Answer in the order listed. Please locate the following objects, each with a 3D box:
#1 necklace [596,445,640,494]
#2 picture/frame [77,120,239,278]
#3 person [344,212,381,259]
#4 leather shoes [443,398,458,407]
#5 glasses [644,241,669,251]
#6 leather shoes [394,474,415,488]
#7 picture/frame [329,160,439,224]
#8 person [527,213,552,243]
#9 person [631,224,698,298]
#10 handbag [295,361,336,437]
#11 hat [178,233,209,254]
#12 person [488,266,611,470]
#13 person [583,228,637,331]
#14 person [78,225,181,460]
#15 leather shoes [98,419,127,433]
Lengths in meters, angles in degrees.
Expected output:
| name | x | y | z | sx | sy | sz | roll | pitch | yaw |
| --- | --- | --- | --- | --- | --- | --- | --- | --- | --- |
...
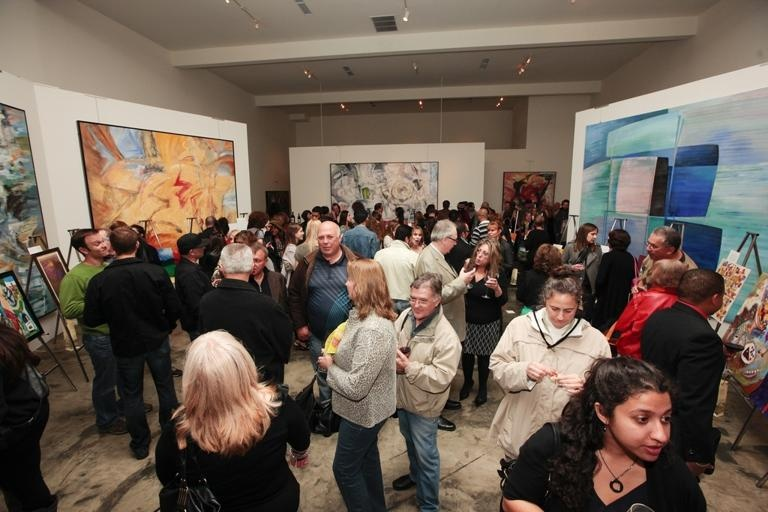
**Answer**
| name | x | y | z | sx | sy | sz | roll | pitch | yaw |
| --- | --- | --- | --- | --- | --- | --- | --- | --- | --- |
| necklace | 1.754 | 1.581 | 3.512 | 0.305 | 0.354 | 0.038 | 18 | 6 | 11 |
| picture/frame | -3.710 | -0.963 | 7.579 | 0.037 | 2.778 | 2.815 | 8 | 13 | 37 |
| person | -0.349 | -0.308 | 7.122 | 0.573 | 0.819 | 0.451 | 5 | 9 | 13 |
| leather shoes | 0.862 | 1.847 | 5.959 | 0.201 | 0.085 | 0.087 | -6 | 11 | 2 |
| glasses | 3.334 | -0.133 | 5.750 | 0.160 | 0.052 | 0.153 | -2 | 11 | -14 |
| leather shoes | 0.199 | 2.345 | 4.942 | 0.238 | 0.100 | 0.115 | 8 | 9 | -13 |
| picture/frame | 0.026 | -1.941 | 13.976 | 3.171 | 1.757 | 0.418 | 3 | 10 | 6 |
| person | 2.843 | -0.524 | 8.694 | 0.370 | 0.493 | 0.731 | 6 | 11 | 23 |
| person | 3.400 | 0.044 | 5.670 | 0.379 | 1.109 | 0.491 | -5 | 34 | 13 |
| handbag | -0.635 | 1.388 | 4.409 | 0.262 | 0.534 | 0.441 | 17 | 36 | -22 |
| hat | -2.281 | -0.156 | 5.646 | 0.207 | 0.152 | 0.297 | 25 | 42 | 35 |
| person | 1.508 | 1.386 | 4.425 | 1.069 | 2.334 | 0.891 | 5 | 19 | 15 |
| person | 3.187 | 0.404 | 6.635 | 0.576 | 1.723 | 0.531 | -9 | 29 | -9 |
| person | -2.721 | 0.957 | 5.208 | 0.922 | 2.527 | 0.418 | -3 | 10 | -23 |
| leather shoes | -3.175 | 2.014 | 5.557 | 0.312 | 0.142 | 0.140 | -2 | 6 | -19 |
